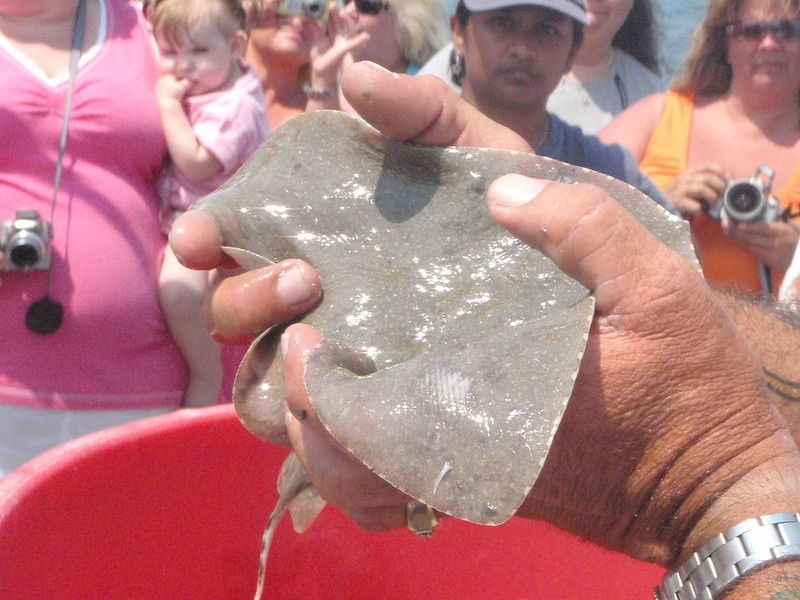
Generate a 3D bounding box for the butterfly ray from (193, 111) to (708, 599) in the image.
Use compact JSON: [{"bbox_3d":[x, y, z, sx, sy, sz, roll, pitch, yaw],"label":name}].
[{"bbox_3d":[-0.055,0.056,1.673,0.701,0.511,0.659,29,41,15],"label":"butterfly ray"}]
